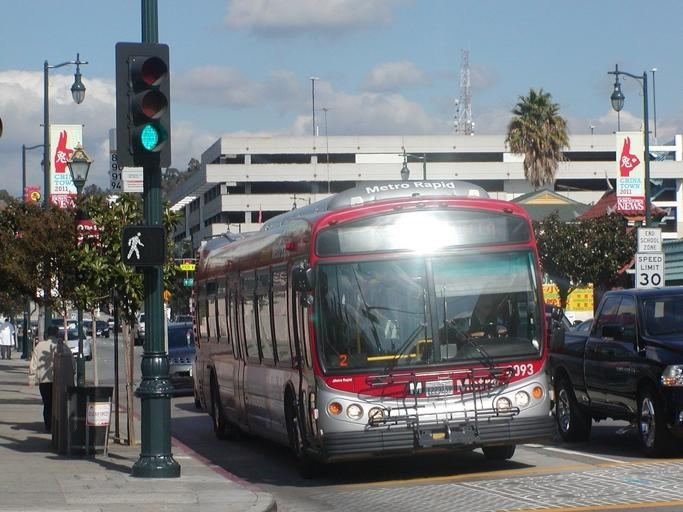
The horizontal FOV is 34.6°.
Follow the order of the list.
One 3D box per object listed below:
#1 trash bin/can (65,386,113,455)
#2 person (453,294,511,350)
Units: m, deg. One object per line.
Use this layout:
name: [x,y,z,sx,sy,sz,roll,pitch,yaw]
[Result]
trash bin/can: [-3.980,2.726,18.050,0.909,1.476,0.942,0,-10,-2]
person: [1.903,0.879,14.885,0.716,0.497,0.755,0,-5,-12]
